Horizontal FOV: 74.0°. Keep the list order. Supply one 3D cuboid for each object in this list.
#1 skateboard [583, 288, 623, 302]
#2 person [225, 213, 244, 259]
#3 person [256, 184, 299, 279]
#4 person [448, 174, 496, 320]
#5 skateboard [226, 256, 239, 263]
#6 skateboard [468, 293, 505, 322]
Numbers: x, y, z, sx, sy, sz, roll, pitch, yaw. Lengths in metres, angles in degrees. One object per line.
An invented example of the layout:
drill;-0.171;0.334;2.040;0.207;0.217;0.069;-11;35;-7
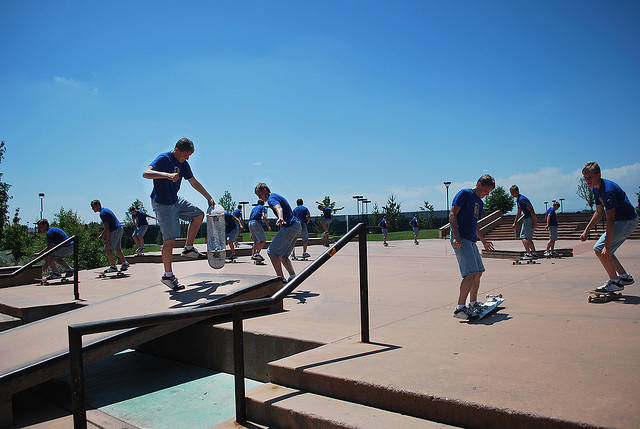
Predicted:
skateboard;4.347;1.230;6.600;0.561;0.215;0.354;-5;-2;-41
person;-3.179;0.758;15.744;0.614;1.438;1.908;-5;-2;-11
person;-0.853;0.378;8.624;0.867;2.050;1.480;-5;-7;4
person;2.146;0.433;6.063;0.802;2.100;0.479;-5;-2;-38
skateboard;-3.215;1.600;15.208;0.592;0.273;0.204;4;-5;17
skateboard;2.428;1.280;6.106;0.258;0.136;0.905;2;9;32
